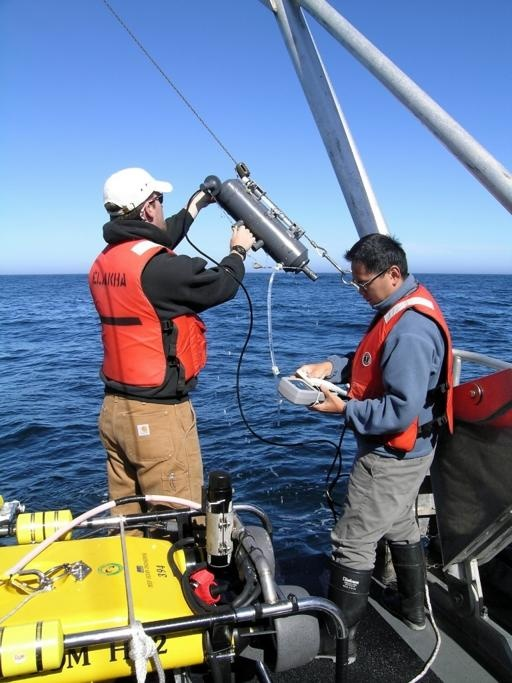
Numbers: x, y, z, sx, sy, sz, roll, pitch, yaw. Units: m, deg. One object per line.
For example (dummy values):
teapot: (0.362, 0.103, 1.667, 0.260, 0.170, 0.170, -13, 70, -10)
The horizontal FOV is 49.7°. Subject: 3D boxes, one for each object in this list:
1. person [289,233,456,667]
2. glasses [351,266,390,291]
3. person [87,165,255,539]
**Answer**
person: (0.652, 0.560, 2.991, 0.935, 2.061, 0.872, 4, 7, 30)
glasses: (0.587, -0.314, 2.834, 0.125, 0.036, 0.117, -33, 13, -7)
person: (-0.409, 0.110, 2.977, 0.917, 2.030, 1.114, -7, 14, -17)
